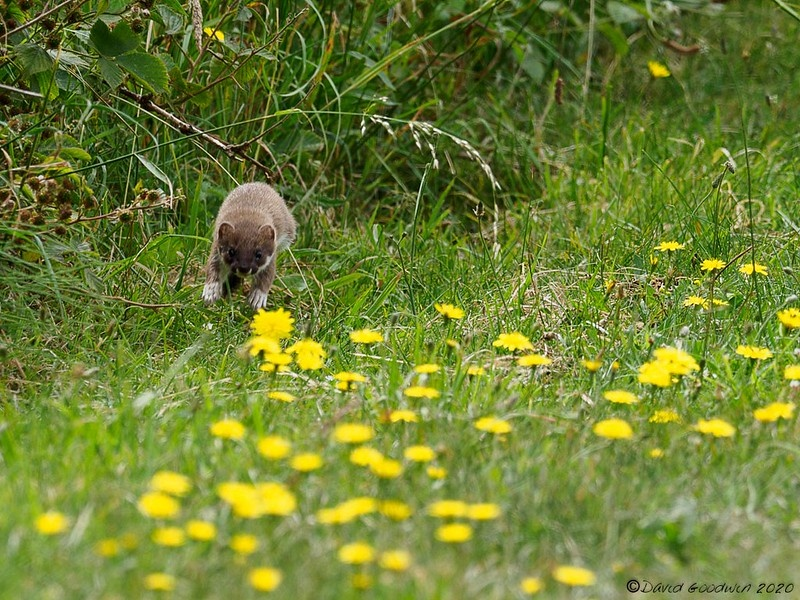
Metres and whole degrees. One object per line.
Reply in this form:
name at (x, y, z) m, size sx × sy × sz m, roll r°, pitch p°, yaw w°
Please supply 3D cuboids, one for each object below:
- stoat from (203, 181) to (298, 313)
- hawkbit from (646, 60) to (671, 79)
stoat at (-1.003, -0.418, 5.929) m, size 0.544 × 0.625 × 1.231 m, roll 6°, pitch 22°, yaw -11°
hawkbit at (1.836, -1.630, 6.501) m, size 0.122 × 0.121 × 0.058 m, roll 31°, pitch 82°, yaw 26°
